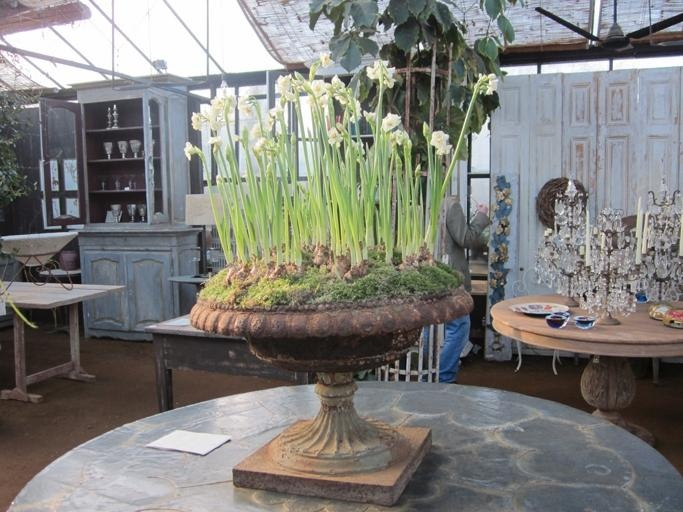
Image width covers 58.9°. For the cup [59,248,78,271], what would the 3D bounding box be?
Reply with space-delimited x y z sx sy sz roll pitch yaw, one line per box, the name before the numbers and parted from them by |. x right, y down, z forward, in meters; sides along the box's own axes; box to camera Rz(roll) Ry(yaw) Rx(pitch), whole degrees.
cup | -3.202 0.035 7.041 0.201 0.222 0.204 4 4 0

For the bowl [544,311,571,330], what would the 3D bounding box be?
bowl | 1.270 0.370 3.531 0.090 0.068 0.146 -3 -2 37

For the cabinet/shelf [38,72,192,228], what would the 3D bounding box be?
cabinet/shelf | -2.542 -1.185 6.847 1.680 2.342 1.182 0 1 3

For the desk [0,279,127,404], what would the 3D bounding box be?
desk | -2.495 0.635 5.079 0.865 0.874 1.054 2 2 21

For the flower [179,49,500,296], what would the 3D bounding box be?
flower | -0.214 -0.571 3.470 1.090 1.209 2.921 -2 4 -9

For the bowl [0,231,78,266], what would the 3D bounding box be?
bowl | -2.693 -0.046 5.370 0.562 0.290 0.931 -4 4 -31

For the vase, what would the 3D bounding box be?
vase | -0.037 0.360 2.102 0.682 0.521 0.743 -1 -1 8

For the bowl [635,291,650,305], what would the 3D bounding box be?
bowl | 2.033 0.278 4.101 0.091 0.096 0.106 2 14 19
